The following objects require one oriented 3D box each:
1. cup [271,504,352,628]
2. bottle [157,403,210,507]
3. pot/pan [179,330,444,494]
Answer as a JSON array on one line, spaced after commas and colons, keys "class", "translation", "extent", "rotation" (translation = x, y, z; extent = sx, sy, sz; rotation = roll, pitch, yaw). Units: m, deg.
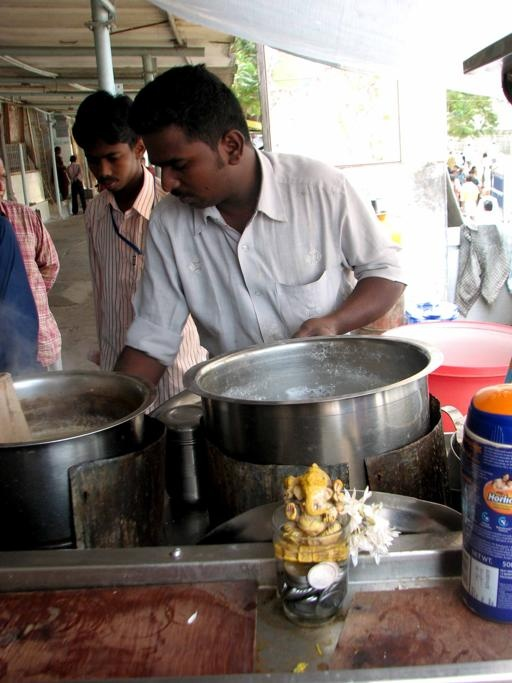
[{"class": "cup", "translation": [0.068, 0.263, 0.661], "extent": [0.093, 0.133, 0.117], "rotation": [-7, 10, -1]}, {"class": "bottle", "translation": [-0.119, 0.259, 1.298], "extent": [0.191, 0.180, 0.180], "rotation": [-6, -2, -1]}, {"class": "pot/pan", "translation": [0.119, 0.129, 1.111], "extent": [0.480, 0.209, 0.431], "rotation": [-10, 10, -27]}]
